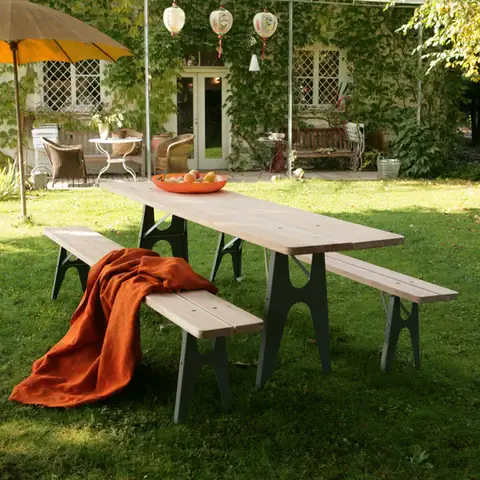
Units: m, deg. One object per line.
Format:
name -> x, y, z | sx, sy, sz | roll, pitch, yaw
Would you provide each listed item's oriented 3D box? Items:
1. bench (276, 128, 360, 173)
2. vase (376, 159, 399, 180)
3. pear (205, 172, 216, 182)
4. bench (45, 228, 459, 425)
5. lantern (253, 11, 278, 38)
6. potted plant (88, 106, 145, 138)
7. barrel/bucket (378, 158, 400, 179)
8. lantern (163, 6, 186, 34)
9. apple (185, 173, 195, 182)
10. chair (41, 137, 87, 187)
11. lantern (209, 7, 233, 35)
bench -> 1.757, -2.055, 11.384 | 1.583, 0.756, 0.559 | -1, 7, -9
vase -> 2.989, -1.439, 10.415 | 0.506, 0.309, 0.417 | 1, 4, 4
pear -> -0.213, -0.461, 3.682 | 0.081, 0.068, 0.215 | 5, 11, -4
bench -> -0.454, 0.313, 2.838 | 1.197, 0.365, 1.766 | -4, 9, -38
lantern -> 0.400, -3.444, 8.134 | 0.432, 0.419, 0.446 | 4, 22, 3
potted plant -> -2.546, -2.378, 10.232 | 1.054, 0.535, 0.990 | 14, 14, 32
barrel/bucket -> 3.033, -1.463, 10.340 | 0.476, 0.288, 0.393 | 1, 4, 5
lantern -> -0.984, -3.361, 7.711 | 0.334, 0.391, 0.333 | -4, 17, -40
apple -> -0.373, -0.445, 3.638 | 0.077, 0.067, 0.075 | -6, 5, -24
chair -> -2.821, -1.269, 8.266 | 0.727, 0.789, 0.795 | -4, 14, -18
lantern -> -0.303, -3.353, 7.836 | 0.310, 0.440, 0.302 | 5, 13, -9
